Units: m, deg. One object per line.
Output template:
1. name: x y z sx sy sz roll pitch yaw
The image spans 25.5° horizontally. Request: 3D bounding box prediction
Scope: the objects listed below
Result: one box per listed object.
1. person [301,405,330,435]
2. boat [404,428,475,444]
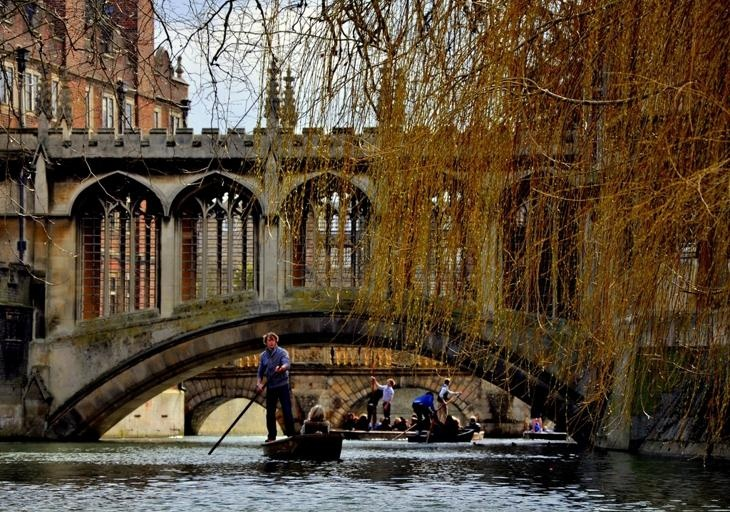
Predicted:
1. person: -0.751 2.524 24.685 0.428 0.386 0.794 2 -2 -2
2. boat: 1.840 4.122 36.213 1.691 0.298 0.549 9 -10 -41
